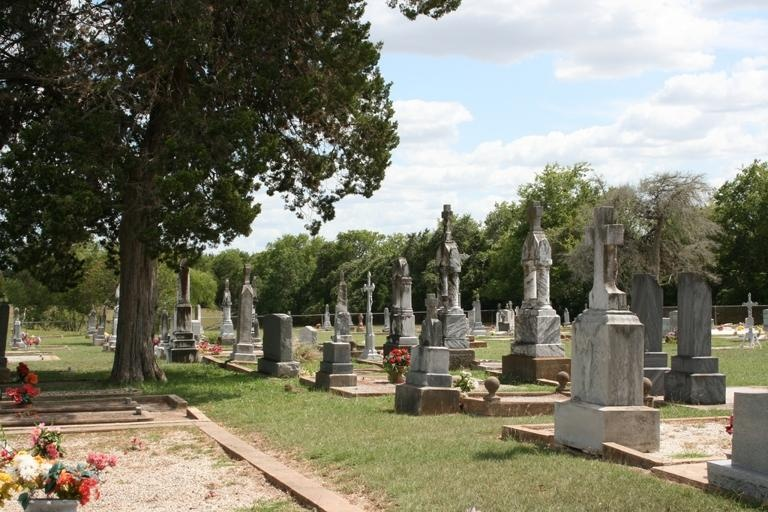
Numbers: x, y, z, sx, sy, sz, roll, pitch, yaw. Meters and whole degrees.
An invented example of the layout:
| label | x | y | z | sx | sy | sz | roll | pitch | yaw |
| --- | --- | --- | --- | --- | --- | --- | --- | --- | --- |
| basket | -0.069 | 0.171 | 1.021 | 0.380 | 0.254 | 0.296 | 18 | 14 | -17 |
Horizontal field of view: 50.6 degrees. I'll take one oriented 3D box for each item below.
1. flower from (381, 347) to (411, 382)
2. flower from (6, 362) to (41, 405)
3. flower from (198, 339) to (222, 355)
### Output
| label | x | y | z | sx | sy | sz | roll | pitch | yaw |
| --- | --- | --- | --- | --- | --- | --- | --- | --- | --- |
| flower | 0.368 | 2.927 | 21.500 | 0.530 | 0.896 | 0.827 | 4 | -7 | -28 |
| flower | -8.757 | 3.109 | 19.688 | 0.858 | 0.984 | 0.862 | -6 | -20 | -20 |
| flower | -6.747 | 3.573 | 31.257 | 0.807 | 0.487 | 0.938 | 2 | -2 | -10 |
